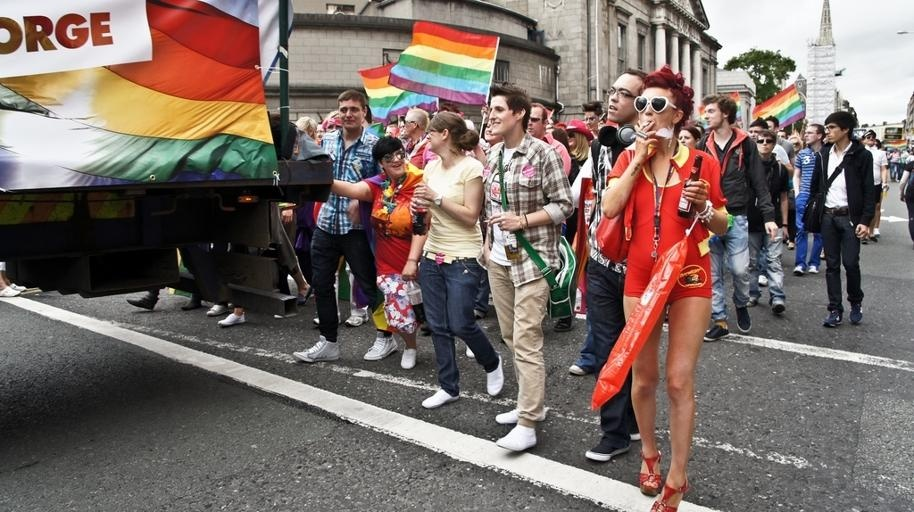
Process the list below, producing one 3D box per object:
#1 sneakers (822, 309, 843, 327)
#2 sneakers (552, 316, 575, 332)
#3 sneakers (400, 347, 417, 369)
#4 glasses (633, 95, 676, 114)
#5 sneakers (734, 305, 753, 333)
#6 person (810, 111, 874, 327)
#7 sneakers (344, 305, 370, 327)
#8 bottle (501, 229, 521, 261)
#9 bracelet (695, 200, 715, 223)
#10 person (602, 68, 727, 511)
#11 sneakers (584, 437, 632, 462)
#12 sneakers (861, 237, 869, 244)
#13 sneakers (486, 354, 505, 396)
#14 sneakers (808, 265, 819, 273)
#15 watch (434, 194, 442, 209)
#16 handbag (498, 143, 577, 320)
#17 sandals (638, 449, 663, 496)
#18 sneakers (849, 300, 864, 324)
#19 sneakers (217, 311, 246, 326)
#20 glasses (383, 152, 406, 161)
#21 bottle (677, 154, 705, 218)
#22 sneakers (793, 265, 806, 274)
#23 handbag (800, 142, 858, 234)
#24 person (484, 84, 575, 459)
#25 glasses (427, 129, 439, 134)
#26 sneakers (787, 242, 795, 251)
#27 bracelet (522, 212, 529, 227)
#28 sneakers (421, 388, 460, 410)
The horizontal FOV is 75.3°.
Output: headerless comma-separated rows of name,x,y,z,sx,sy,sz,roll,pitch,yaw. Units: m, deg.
sneakers,5.151,0.848,8.065,0.428,0.186,0.151,-4,5,-42
sneakers,1.479,0.947,8.196,0.193,0.140,0.395,-4,-7,31
sneakers,-0.571,1.206,7.010,0.130,0.106,0.273,0,26,5
glasses,1.596,-1.207,4.726,0.336,0.142,0.152,0,7,7
sneakers,3.882,0.845,8.023,0.155,0.447,0.174,-16,-46,31
person,5.589,-0.561,8.586,0.901,2.993,0.958,4,-2,-42
sneakers,-1.424,0.878,8.605,0.220,0.246,0.556,1,1,24
bottle,0.528,-0.088,5.605,0.173,0.294,0.068,0,7,10
bracelet,1.968,-0.345,4.677,0.155,0.151,0.068,17,4,41
person,1.662,0.232,4.752,0.902,3.512,0.822,2,8,23
sneakers,1.336,1.689,5.295,0.442,0.190,0.173,-5,7,-22
sneakers,9.275,-0.351,13.433,0.152,0.125,0.428,-5,6,26
sneakers,0.410,1.272,6.352,0.172,0.419,0.185,3,2,44
sneakers,6.956,0.264,11.532,0.105,0.110,0.288,0,-3,38
watch,-0.182,-0.552,5.876,0.073,0.115,0.089,-2,7,-3
handbag,0.943,-0.075,5.944,0.749,1.236,0.583,-16,-35,-5
sandals,1.585,1.799,4.828,0.131,0.156,0.417,-2,-1,15
sneakers,5.562,0.808,8.220,0.138,0.374,0.155,1,-16,40
sneakers,-3.219,0.901,8.566,0.444,0.166,0.161,-2,4,-31
glasses,-0.702,-1.092,6.551,0.249,0.098,0.090,-2,7,-8
bottle,1.861,-0.556,4.702,0.237,0.483,0.095,-8,10,-43
sneakers,6.560,0.268,11.333,0.126,0.132,0.319,3,-2,34
handbag,5.524,-0.959,8.858,0.780,1.152,0.323,1,-6,37
person,0.657,0.045,5.607,0.776,3.327,1.052,-1,7,2
glasses,-0.234,-1.235,5.920,0.104,0.080,0.025,3,8,30
sneakers,8.228,-0.256,14.590,0.159,0.192,0.464,-6,-5,23
bracelet,0.651,-0.340,5.617,0.037,0.097,0.080,3,-1,-6
sneakers,-0.176,1.472,6.153,0.396,0.150,0.154,-3,6,-22
